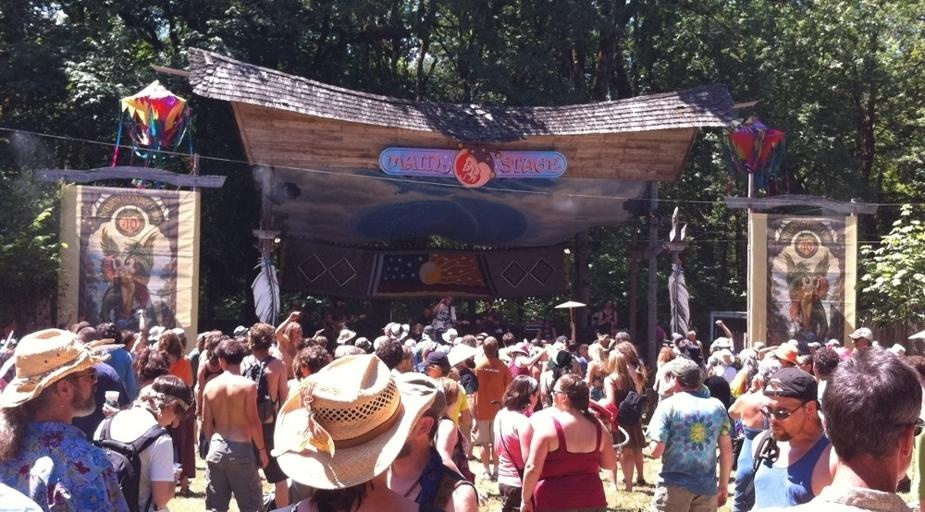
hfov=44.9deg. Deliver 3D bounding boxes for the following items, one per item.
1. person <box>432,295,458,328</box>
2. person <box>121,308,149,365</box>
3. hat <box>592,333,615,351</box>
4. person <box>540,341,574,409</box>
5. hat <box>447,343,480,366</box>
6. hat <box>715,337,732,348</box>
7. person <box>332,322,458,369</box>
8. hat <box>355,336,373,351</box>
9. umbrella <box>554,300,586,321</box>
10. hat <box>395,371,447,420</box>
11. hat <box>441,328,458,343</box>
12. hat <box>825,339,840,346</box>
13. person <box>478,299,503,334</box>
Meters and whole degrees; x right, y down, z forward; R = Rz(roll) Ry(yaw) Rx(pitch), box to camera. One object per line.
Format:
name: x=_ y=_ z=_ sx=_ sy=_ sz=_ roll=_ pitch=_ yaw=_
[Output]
person: x=-0.722 y=2.062 z=42.038 sx=0.790 sy=0.796 sz=1.729 roll=6 pitch=39 yaw=-2
person: x=-9.523 y=2.355 z=32.386 sx=0.519 sy=1.552 sz=0.529 roll=1 pitch=-41 yaw=-2
hat: x=4.225 y=2.576 z=33.684 sx=0.641 sy=0.272 sz=0.699 roll=-34 pitch=12 yaw=22
person: x=2.503 y=2.809 z=29.675 sx=0.818 sy=0.763 sz=2.203 roll=-7 pitch=4 yaw=4
hat: x=-0.039 y=2.771 z=30.780 sx=0.638 sy=0.167 sz=0.627 roll=-21 pitch=-3 yaw=-10
hat: x=7.516 y=2.467 z=32.103 sx=0.334 sy=0.098 sz=0.340 roll=-14 pitch=14 yaw=-38
person: x=-1.547 y=2.326 z=28.733 sx=1.474 sy=0.560 sz=1.285 roll=-5 pitch=14 yaw=-32
hat: x=-2.773 y=2.488 z=31.672 sx=0.448 sy=0.327 sz=0.647 roll=4 pitch=-1 yaw=30
umbrella: x=4.247 y=2.164 z=44.122 sx=0.871 sy=0.633 sz=0.886 roll=2 pitch=0 yaw=24
hat: x=-0.933 y=3.153 z=25.680 sx=1.245 sy=0.870 sz=0.550 roll=33 pitch=-31 yaw=0
hat: x=-0.401 y=2.389 z=33.739 sx=0.410 sy=0.394 sz=0.521 roll=3 pitch=-6 yaw=-10
hat: x=11.300 y=2.637 z=34.295 sx=0.565 sy=0.142 sz=0.550 roll=-1 pitch=-1 yaw=7
person: x=1.032 y=2.290 z=43.079 sx=0.892 sy=1.389 sz=2.154 roll=2 pitch=-2 yaw=1
